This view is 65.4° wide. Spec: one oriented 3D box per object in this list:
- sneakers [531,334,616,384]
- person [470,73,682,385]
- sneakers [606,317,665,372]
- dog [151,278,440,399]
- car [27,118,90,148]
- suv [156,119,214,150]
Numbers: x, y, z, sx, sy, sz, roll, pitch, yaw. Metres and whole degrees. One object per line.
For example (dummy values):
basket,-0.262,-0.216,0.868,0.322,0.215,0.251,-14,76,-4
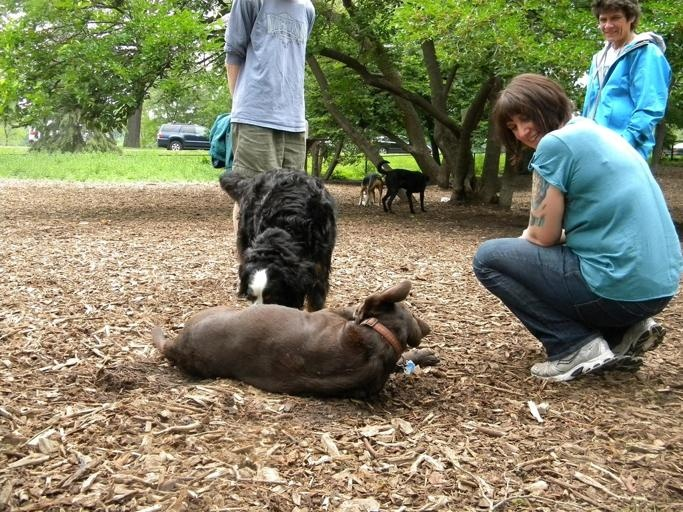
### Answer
sneakers,1.453,0.667,3.431,0.563,0.233,0.203,-19,0,17
person,1.464,-0.168,3.276,1.044,1.912,0.457,8,13,38
sneakers,1.824,0.554,3.328,0.432,0.196,0.186,-36,-25,14
dog,-0.228,0.494,3.196,1.317,0.455,0.730,-2,17,-13
car,-13.207,-5.638,25.043,2.291,1.474,1.327,-2,10,-14
suv,-8.848,-6.633,29.717,2.550,1.447,1.354,-3,10,-22
